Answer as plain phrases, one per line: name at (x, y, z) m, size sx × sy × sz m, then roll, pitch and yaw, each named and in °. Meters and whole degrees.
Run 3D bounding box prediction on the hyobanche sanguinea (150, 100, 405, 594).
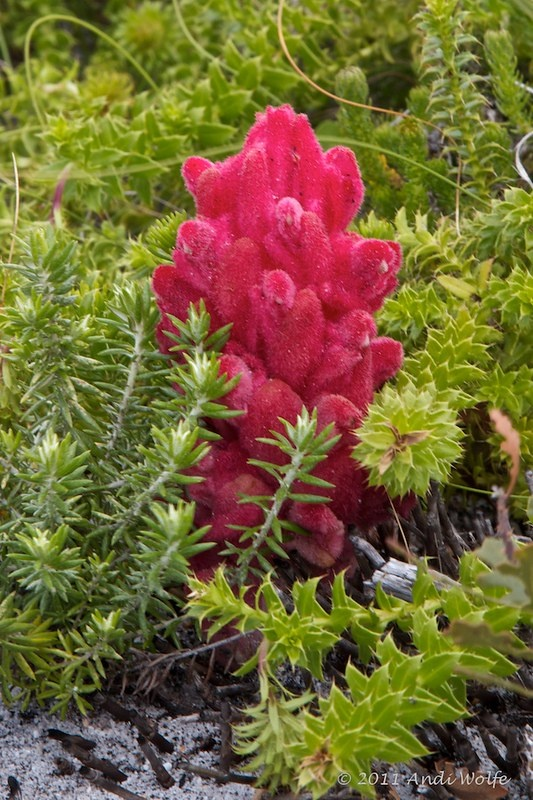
hyobanche sanguinea at (0.035, -0.081, 0.762) m, size 0.242 × 0.414 × 0.222 m, roll 7°, pitch 35°, yaw 31°
